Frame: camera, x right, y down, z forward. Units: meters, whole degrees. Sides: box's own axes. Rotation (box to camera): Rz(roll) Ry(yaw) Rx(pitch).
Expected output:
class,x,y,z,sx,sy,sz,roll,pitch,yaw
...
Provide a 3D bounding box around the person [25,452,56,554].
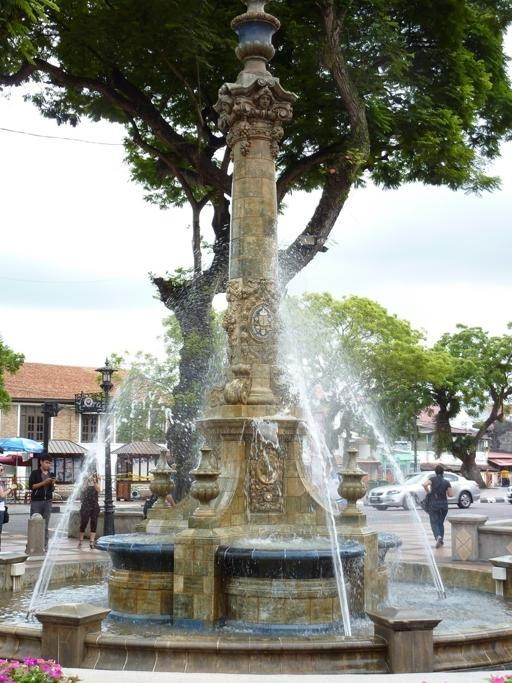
class,x,y,z,sx,sy,sz,roll,pitch,yaw
person,-4.192,3.169,16.934,0.467,1.835,1.491,2,-7,-14
